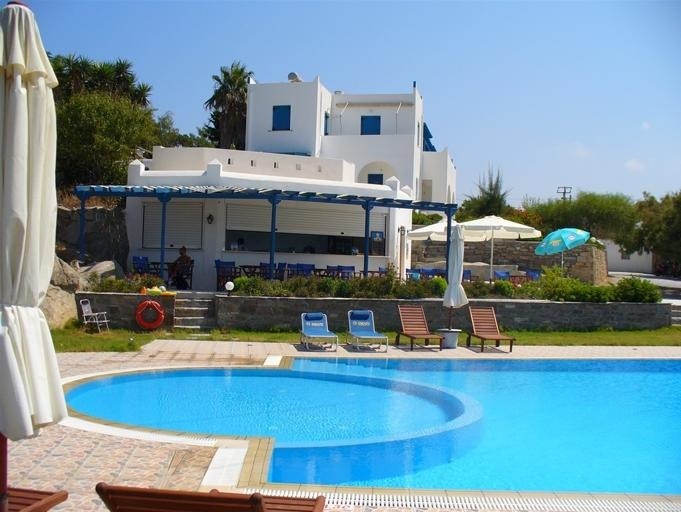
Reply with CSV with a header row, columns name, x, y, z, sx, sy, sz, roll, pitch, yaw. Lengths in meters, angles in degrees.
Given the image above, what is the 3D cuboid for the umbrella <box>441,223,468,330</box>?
name,x,y,z,sx,sy,sz,roll,pitch,yaw
umbrella,3.911,0.744,26.187,0.758,3.560,1.920,1,2,9

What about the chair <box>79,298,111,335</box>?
name,x,y,z,sx,sy,sz,roll,pitch,yaw
chair,-7.777,1.947,24.703,0.799,1.026,0.595,0,-1,14

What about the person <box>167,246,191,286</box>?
name,x,y,z,sx,sy,sz,roll,pitch,yaw
person,-6.121,0.443,29.488,0.797,1.486,0.882,23,26,33

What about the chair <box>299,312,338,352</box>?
name,x,y,z,sx,sy,sz,roll,pitch,yaw
chair,-0.748,2.391,24.925,0.761,0.921,1.332,1,-4,-8

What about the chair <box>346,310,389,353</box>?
name,x,y,z,sx,sy,sz,roll,pitch,yaw
chair,0.822,2.370,25.272,0.819,1.011,1.456,1,-2,-10
